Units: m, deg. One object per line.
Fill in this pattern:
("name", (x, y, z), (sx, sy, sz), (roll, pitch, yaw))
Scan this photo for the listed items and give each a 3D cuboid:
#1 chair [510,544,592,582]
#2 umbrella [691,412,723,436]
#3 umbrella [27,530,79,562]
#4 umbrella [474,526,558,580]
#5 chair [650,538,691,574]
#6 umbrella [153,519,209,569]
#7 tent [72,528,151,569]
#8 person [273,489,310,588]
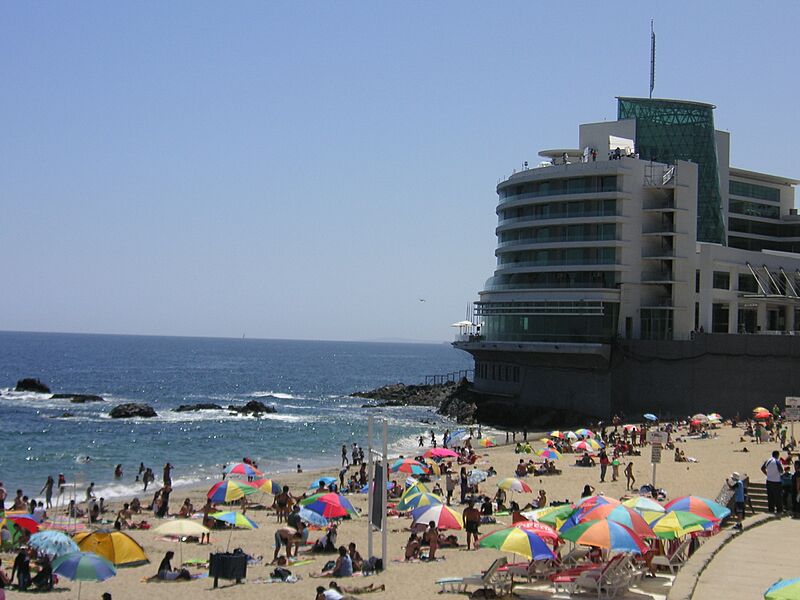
("chair", (6.440, 11.456, 46.501), (2.659, 1.148, 1.650), (-1, -4, 13))
("umbrella", (22.407, 8.999, 79.045), (1.471, 0.916, 1.880), (4, 3, 14))
("umbrella", (-15.005, 11.025, 47.183), (1.647, 0.659, 1.681), (19, 5, 35))
("umbrella", (5.018, 10.436, 45.362), (2.218, 1.606, 2.203), (0, 1, -43))
("chair", (11.688, 11.041, 46.305), (1.528, 1.332, 1.131), (-1, -6, 14))
("umbrella", (-10.416, 11.578, 50.412), (2.764, 2.751, 2.699), (0, -2, -3))
("tent", (-12.792, 11.292, 48.181), (3.554, 1.644, 2.987), (-3, 1, -8))
("person", (-5.277, 11.616, 52.049), (1.006, 2.360, 1.223), (-1, 2, -23))
